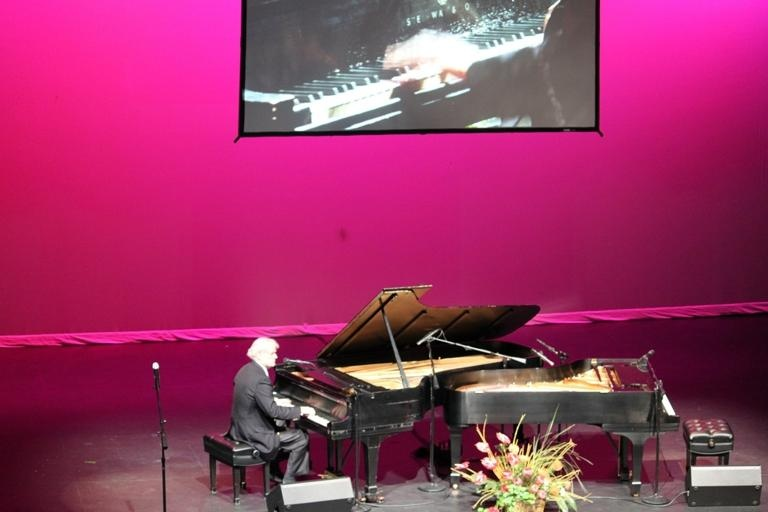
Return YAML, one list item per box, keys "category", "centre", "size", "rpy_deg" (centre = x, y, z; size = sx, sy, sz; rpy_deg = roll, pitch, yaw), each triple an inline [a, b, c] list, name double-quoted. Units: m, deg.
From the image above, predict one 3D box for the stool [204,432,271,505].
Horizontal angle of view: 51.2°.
- category: "stool"
  centre: [-1.556, 2.095, 8.546]
  size: [0.627, 0.688, 1.051]
  rpy_deg: [4, -1, -26]

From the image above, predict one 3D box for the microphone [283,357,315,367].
- category: "microphone"
  centre: [-0.970, 1.226, 9.217]
  size: [0.327, 0.090, 0.233]
  rpy_deg: [3, -2, -21]

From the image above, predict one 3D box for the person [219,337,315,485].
- category: "person"
  centre: [-1.241, 1.754, 8.648]
  size: [0.940, 1.542, 0.824]
  rpy_deg: [-2, 5, -19]

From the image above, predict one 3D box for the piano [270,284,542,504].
- category: "piano"
  centre: [0.042, 1.339, 9.488]
  size: [3.418, 2.107, 1.794]
  rpy_deg: [-2, 4, -31]

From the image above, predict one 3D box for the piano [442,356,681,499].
- category: "piano"
  centre: [1.898, 1.716, 8.797]
  size: [1.901, 0.922, 1.615]
  rpy_deg: [-2, 1, 1]

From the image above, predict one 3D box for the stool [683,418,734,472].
- category: "stool"
  centre: [3.553, 2.055, 8.728]
  size: [0.471, 0.473, 0.667]
  rpy_deg: [-3, 7, 14]
